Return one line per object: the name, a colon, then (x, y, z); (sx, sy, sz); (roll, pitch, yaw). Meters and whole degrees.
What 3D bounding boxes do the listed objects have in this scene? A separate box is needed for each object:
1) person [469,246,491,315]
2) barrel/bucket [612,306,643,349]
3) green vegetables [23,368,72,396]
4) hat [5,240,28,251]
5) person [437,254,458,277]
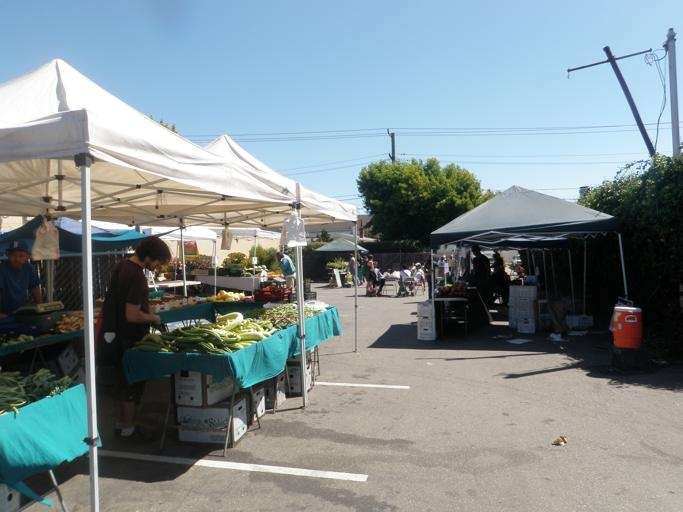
person: (3.884, 0.627, 15.814); (0.516, 1.820, 1.406); (1, 7, 14)
barrel/bucket: (4.926, 1.252, 9.838); (0.448, 0.744, 0.301); (3, 8, 25)
green vegetables: (-3.045, 1.305, 5.813); (0.341, 0.152, 0.352); (4, -1, 37)
hat: (-4.498, -0.142, 7.922); (0.225, 0.105, 0.237); (-2, 0, -27)
person: (4.317, 0.321, 23.225); (1.073, 0.743, 1.120); (1, 8, 17)
